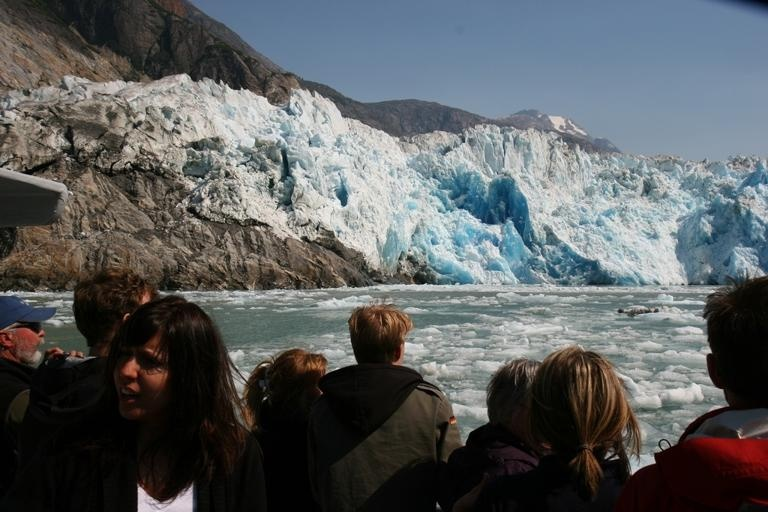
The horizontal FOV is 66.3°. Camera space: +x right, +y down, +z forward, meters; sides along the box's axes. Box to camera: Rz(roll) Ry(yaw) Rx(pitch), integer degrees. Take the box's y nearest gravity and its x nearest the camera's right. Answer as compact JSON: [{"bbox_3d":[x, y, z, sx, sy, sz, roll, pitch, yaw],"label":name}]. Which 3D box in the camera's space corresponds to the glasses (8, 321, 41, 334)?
[{"bbox_3d":[-2.188,0.439,3.589,0.101,0.025,0.095,-9,5,2],"label":"glasses"}]
